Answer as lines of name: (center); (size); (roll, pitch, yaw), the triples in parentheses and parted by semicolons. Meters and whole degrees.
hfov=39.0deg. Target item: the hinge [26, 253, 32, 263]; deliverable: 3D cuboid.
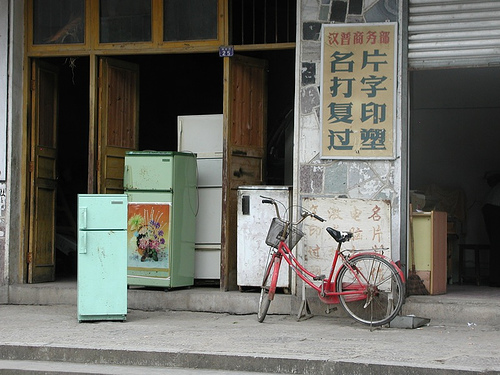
hinge: (-3.511, 1.115, 11.230); (0.083, 0.149, 0.022); (0, 1, -15)

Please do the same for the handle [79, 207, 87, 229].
handle: (-2.211, 0.392, 9.360); (0.101, 0.288, 0.029); (0, 1, -19)

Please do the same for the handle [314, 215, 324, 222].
handle: (0.944, 0.413, 9.593); (0.127, 0.099, 0.262); (0, 0, 5)

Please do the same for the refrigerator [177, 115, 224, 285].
refrigerator: (-0.725, 0.134, 11.242); (0.736, 2.531, 0.703); (5, 6, 35)

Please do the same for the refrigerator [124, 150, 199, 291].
refrigerator: (-1.347, 0.478, 10.753); (1.102, 2.055, 0.425); (0, 1, -12)

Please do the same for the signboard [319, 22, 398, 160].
signboard: (1.577, -1.401, 10.257); (1.066, 2.191, 0.096); (2, 33, 10)

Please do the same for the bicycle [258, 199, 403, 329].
bicycle: (1.303, 1.114, 9.760); (2.360, 1.736, 1.048); (5, 0, 36)
